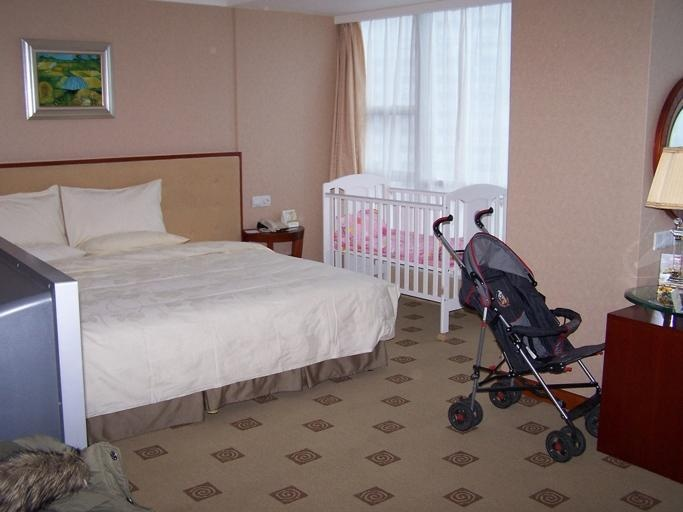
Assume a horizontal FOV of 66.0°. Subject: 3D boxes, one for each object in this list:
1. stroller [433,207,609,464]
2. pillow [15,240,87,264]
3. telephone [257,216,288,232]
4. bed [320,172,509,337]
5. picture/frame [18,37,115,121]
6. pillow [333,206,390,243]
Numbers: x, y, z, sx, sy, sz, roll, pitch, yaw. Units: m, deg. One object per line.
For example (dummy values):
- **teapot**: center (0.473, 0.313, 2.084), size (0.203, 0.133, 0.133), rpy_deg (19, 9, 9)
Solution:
- **stroller**: center (1.106, 0.441, 3.189), size (0.570, 1.275, 0.970), rpy_deg (-10, 13, -44)
- **pillow**: center (-2.402, -0.031, 4.355), size (0.434, 0.125, 0.409), rpy_deg (17, 15, 39)
- **telephone**: center (-0.818, -0.359, 5.983), size (0.177, 0.098, 0.237), rpy_deg (-6, 13, -41)
- **bed**: center (0.896, -0.150, 5.931), size (1.475, 1.630, 1.913), rpy_deg (-11, 15, -42)
- **picture/frame**: center (-2.591, -1.652, 4.862), size (0.849, 0.759, 0.066), rpy_deg (-7, 12, -37)
- **pillow**: center (0.242, -0.327, 5.809), size (0.627, 0.209, 0.626), rpy_deg (-3, -26, -5)
